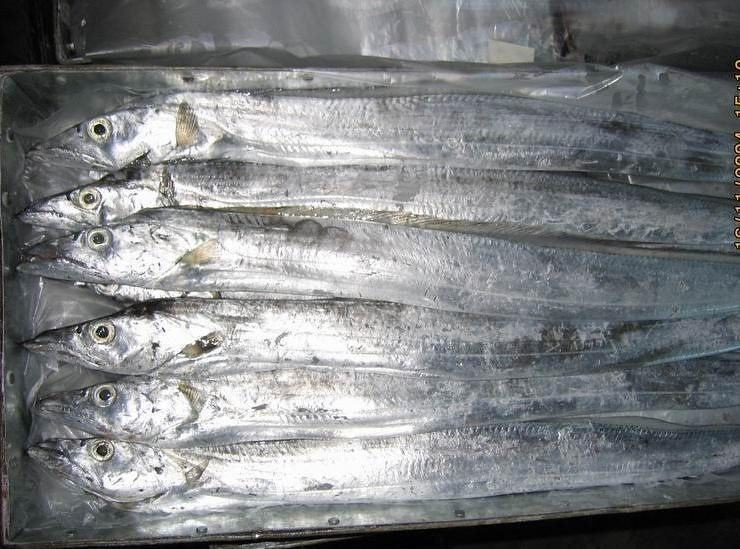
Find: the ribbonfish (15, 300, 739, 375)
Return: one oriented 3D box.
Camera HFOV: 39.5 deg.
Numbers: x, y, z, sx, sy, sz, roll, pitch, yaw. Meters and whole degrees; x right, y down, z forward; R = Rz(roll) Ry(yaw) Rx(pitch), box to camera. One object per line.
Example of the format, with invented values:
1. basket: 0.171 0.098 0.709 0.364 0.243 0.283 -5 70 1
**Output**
1. ribbonfish: -0.097 0.329 5.270 3.184 0.372 0.161 2 17 -2
